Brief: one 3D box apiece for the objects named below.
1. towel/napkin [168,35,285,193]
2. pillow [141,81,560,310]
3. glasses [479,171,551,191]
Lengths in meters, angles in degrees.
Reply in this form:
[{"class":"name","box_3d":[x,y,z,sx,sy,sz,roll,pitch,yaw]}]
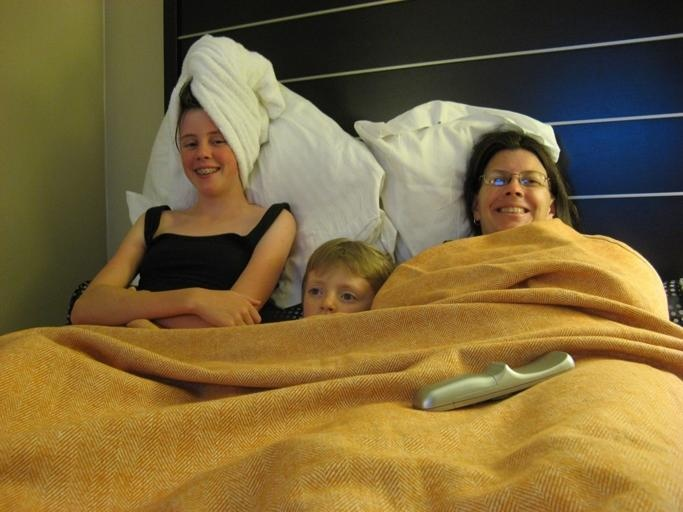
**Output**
[{"class":"towel/napkin","box_3d":[-0.422,-0.550,2.243,0.402,0.563,0.256,-8,1,-20]},{"class":"pillow","box_3d":[0.246,-0.240,1.904,0.901,0.765,0.278,-20,14,10]},{"class":"glasses","box_3d":[0.569,-0.253,1.904,0.210,0.052,0.083,2,17,13]}]
